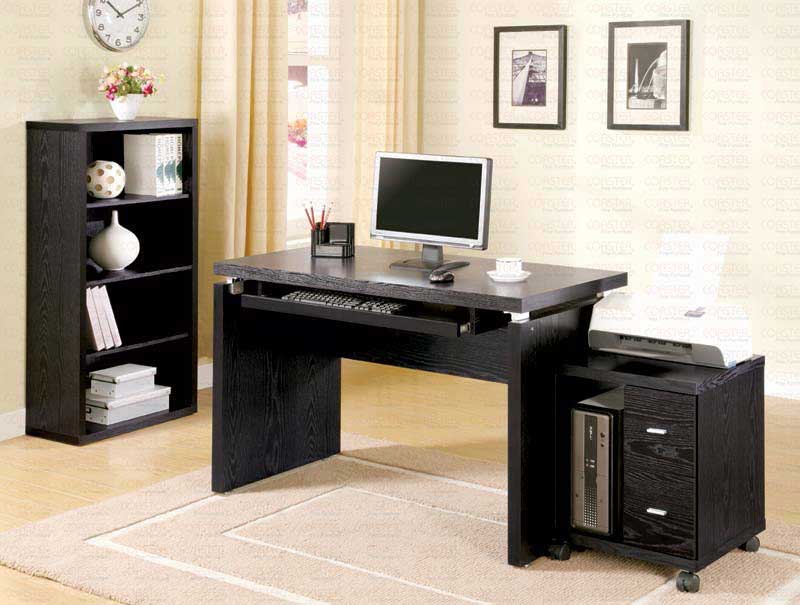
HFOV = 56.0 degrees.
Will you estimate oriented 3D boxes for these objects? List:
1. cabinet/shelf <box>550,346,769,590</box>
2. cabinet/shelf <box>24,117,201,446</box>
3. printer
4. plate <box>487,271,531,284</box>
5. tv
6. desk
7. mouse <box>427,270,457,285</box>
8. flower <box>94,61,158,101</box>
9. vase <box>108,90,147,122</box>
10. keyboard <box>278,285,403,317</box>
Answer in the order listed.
[{"bbox_3d":[0.782,0.463,2.803,0.785,0.868,0.713,3,5,38],"label":"cabinet/shelf"},{"bbox_3d":[-1.425,-0.145,3.756,0.495,1.530,0.773,6,12,31],"label":"cabinet/shelf"},{"bbox_3d":[1.025,0.105,2.706,0.694,0.238,0.571,5,10,32],"label":"printer"},{"bbox_3d":[0.390,-0.095,2.675,0.153,0.033,0.154,2,10,6],"label":"plate"},{"bbox_3d":[0.115,-0.355,2.940,0.528,0.434,0.211,10,14,33],"label":"tv"},{"bbox_3d":[-0.001,0.334,2.878,1.357,0.833,0.733,4,6,35],"label":"desk"},{"bbox_3d":[0.147,-0.086,2.635,0.080,0.031,0.073,2,10,11],"label":"mouse"},{"bbox_3d":[-1.351,-1.075,3.679,0.247,0.155,0.238,-1,4,-2],"label":"flower"},{"bbox_3d":[-1.338,-0.959,3.726,0.178,0.117,0.174,2,11,16],"label":"vase"},{"bbox_3d":[-0.206,-0.004,2.744,0.479,0.044,0.144,5,11,25],"label":"keyboard"}]
